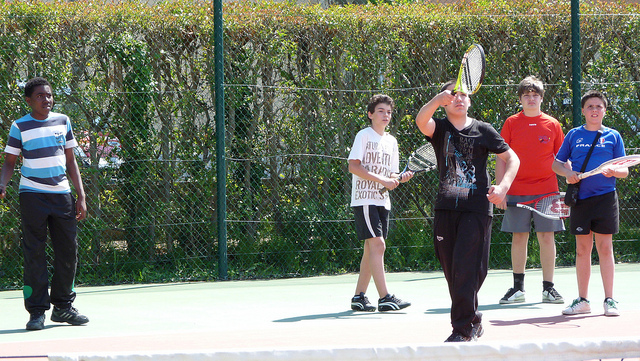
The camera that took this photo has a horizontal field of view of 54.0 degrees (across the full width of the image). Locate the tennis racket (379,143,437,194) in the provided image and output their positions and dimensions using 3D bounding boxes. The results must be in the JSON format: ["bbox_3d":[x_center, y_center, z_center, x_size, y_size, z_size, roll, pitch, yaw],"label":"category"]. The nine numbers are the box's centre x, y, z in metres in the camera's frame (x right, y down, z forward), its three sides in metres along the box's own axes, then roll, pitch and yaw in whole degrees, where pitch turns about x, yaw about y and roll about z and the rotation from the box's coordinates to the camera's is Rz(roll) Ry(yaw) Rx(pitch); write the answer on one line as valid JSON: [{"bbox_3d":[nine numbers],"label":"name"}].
[{"bbox_3d":[1.109,-0.148,7.706,0.963,0.376,0.068,-37,-19,-30],"label":"tennis racket"}]

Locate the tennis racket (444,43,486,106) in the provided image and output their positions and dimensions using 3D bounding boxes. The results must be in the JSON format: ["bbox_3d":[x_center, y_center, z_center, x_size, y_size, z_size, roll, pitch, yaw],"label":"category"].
[{"bbox_3d":[1.563,-1.131,6.690,0.384,0.658,0.511,1,8,15],"label":"tennis racket"}]

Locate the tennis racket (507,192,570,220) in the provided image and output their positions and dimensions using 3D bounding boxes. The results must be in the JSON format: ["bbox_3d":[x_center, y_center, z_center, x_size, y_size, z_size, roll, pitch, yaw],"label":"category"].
[{"bbox_3d":[2.820,0.351,7.813,0.563,0.360,1.197,2,8,21],"label":"tennis racket"}]

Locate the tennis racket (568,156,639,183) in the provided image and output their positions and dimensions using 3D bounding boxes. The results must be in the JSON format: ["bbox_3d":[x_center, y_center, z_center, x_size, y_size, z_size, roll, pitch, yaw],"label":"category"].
[{"bbox_3d":[3.408,-0.157,7.329,0.888,0.070,0.272,-16,-28,22],"label":"tennis racket"}]

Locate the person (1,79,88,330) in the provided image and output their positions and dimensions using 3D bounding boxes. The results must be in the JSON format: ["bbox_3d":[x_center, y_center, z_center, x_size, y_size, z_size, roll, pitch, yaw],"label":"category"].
[{"bbox_3d":[-3.277,0.259,7.450,0.860,2.900,0.653,-4,8,-21],"label":"person"}]

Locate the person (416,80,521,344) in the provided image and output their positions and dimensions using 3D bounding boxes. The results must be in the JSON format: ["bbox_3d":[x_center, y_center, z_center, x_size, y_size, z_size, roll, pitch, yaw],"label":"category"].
[{"bbox_3d":[1.563,0.346,6.711,0.832,2.589,0.697,-6,9,-36],"label":"person"}]

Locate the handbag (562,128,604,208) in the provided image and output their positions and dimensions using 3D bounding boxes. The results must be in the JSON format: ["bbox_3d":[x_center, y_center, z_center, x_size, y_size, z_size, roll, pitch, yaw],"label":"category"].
[{"bbox_3d":[3.260,-0.144,7.683,0.152,1.013,0.187,24,5,-40],"label":"handbag"}]
